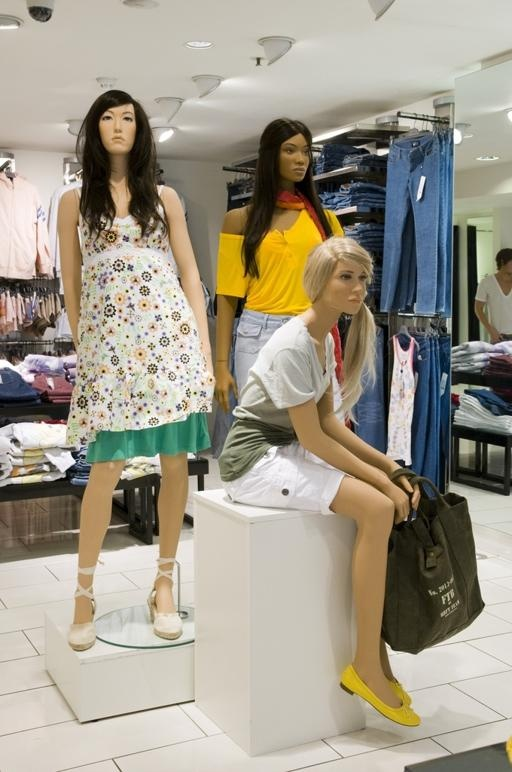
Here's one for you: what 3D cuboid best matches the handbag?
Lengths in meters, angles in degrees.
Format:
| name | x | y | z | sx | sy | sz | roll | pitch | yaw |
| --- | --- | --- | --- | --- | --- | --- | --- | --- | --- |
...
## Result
| name | x | y | z | sx | sy | sz | roll | pitch | yaw |
| --- | --- | --- | --- | --- | --- | --- | --- | --- | --- |
| handbag | 0.405 | 0.411 | 1.334 | 0.175 | 0.435 | 0.347 | -7 | -12 | 35 |

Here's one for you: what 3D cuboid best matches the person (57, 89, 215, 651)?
| name | x | y | z | sx | sy | sz | roll | pitch | yaw |
| --- | --- | --- | --- | --- | --- | --- | --- | --- | --- |
| person | -0.332 | -0.048 | 1.547 | 0.460 | 1.434 | 0.346 | 5 | -11 | -29 |

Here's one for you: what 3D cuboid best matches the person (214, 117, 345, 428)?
| name | x | y | z | sx | sy | sz | roll | pitch | yaw |
| --- | --- | --- | --- | --- | --- | --- | --- | --- | --- |
| person | 0.090 | -0.174 | 1.781 | 0.424 | 1.264 | 0.222 | 3 | -1 | -3 |

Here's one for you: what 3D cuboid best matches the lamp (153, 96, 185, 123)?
| name | x | y | z | sx | sy | sz | roll | pitch | yaw |
| --- | --- | --- | --- | --- | --- | --- | --- | --- | --- |
| lamp | -0.655 | -2.070 | 4.258 | 0.159 | 0.122 | 0.161 | -3 | 4 | -5 |

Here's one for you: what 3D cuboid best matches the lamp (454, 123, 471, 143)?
| name | x | y | z | sx | sy | sz | roll | pitch | yaw |
| --- | --- | --- | --- | --- | --- | --- | --- | --- | --- |
| lamp | 1.213 | -1.483 | 3.351 | 0.105 | 0.098 | 0.080 | 3 | 5 | 20 |

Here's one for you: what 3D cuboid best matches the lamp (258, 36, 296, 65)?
| name | x | y | z | sx | sy | sz | roll | pitch | yaw |
| --- | --- | --- | --- | --- | --- | --- | --- | --- | --- |
| lamp | 0.102 | -1.835 | 3.143 | 0.158 | 0.115 | 0.161 | -2 | 7 | -4 |

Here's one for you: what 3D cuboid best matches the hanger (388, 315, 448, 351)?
| name | x | y | z | sx | sy | sz | roll | pitch | yaw |
| --- | --- | --- | --- | --- | --- | --- | --- | --- | --- |
| hanger | 1.132 | -0.395 | 3.971 | 0.146 | 0.190 | 0.511 | -2 | 9 | -10 |

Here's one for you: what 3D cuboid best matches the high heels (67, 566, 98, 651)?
| name | x | y | z | sx | sy | sz | roll | pitch | yaw |
| --- | --- | --- | --- | --- | --- | --- | --- | --- | --- |
| high heels | -0.425 | 0.589 | 1.444 | 0.059 | 0.086 | 0.217 | 0 | 0 | -4 |
